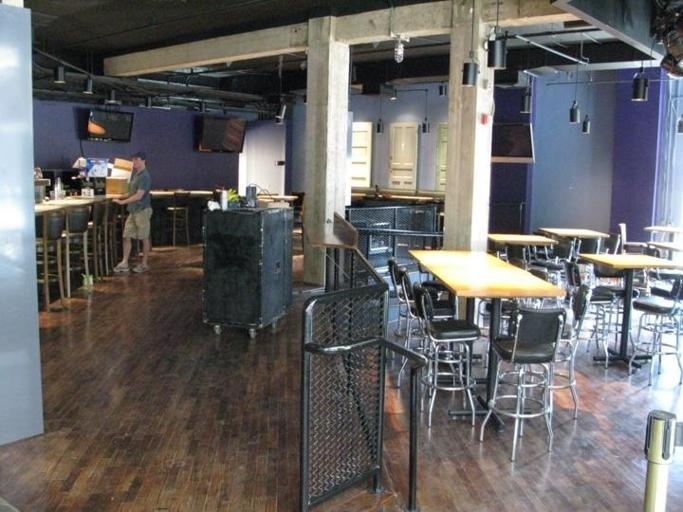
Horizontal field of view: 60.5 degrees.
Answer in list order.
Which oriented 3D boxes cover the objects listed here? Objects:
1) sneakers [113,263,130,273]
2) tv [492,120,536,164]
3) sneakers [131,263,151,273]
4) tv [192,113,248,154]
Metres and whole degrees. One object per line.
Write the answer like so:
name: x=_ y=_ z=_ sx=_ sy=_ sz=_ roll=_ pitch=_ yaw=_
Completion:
sneakers: x=-3.942 y=0.211 z=10.495 sx=0.118 sy=0.140 sz=0.300 roll=8 pitch=2 yaw=33
tv: x=3.293 y=-2.217 z=11.333 sx=0.898 sy=0.955 sz=0.526 roll=3 pitch=2 yaw=25
sneakers: x=-3.601 y=0.221 z=10.511 sx=0.146 sy=0.132 sz=0.284 roll=1 pitch=2 yaw=25
tv: x=-3.755 y=-3.676 z=17.619 sx=0.155 sy=0.891 sz=1.567 roll=4 pitch=5 yaw=27
